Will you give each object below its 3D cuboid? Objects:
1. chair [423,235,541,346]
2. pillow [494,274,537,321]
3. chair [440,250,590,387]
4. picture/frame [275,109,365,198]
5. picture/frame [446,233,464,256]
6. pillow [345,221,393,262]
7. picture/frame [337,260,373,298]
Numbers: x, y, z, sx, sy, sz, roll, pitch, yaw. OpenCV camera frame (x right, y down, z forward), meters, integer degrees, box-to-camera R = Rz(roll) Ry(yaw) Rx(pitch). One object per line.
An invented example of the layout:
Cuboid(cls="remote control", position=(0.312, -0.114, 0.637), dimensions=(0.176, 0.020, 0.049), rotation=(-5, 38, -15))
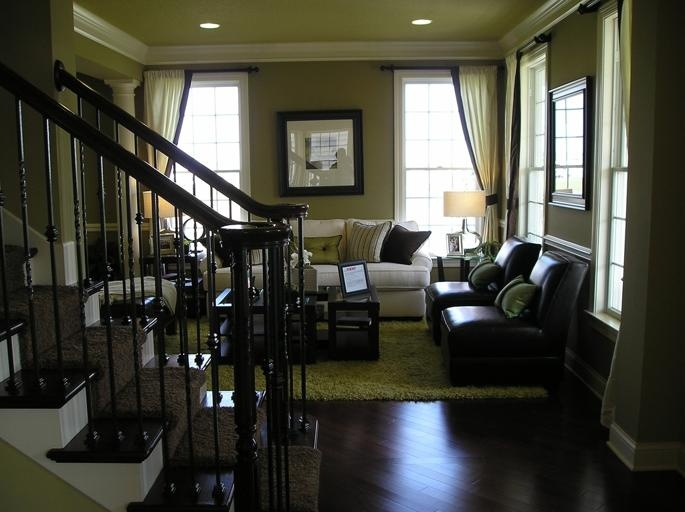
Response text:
Cuboid(cls="chair", position=(1.380, 0.316, 5.754), dimensions=(1.139, 1.226, 0.889), rotation=(1, 5, 3))
Cuboid(cls="pillow", position=(1.545, 0.368, 4.795), dimensions=(0.226, 0.299, 0.508), rotation=(5, 8, 1))
Cuboid(cls="chair", position=(1.500, 0.519, 4.910), dimensions=(1.109, 1.140, 1.084), rotation=(1, 3, 3))
Cuboid(cls="picture/frame", position=(-0.321, -1.474, 7.329), dimensions=(1.065, 1.180, 0.089), rotation=(-1, 13, 2))
Cuboid(cls="picture/frame", position=(1.484, -0.159, 6.926), dimensions=(0.273, 0.411, 0.047), rotation=(0, 0, 7))
Cuboid(cls="pillow", position=(0.331, -0.161, 7.074), dimensions=(0.633, 0.610, 0.302), rotation=(1, -4, 41))
Cuboid(cls="picture/frame", position=(0.136, 0.258, 5.698), dimensions=(0.401, 0.428, 0.039), rotation=(-3, -11, -42))
